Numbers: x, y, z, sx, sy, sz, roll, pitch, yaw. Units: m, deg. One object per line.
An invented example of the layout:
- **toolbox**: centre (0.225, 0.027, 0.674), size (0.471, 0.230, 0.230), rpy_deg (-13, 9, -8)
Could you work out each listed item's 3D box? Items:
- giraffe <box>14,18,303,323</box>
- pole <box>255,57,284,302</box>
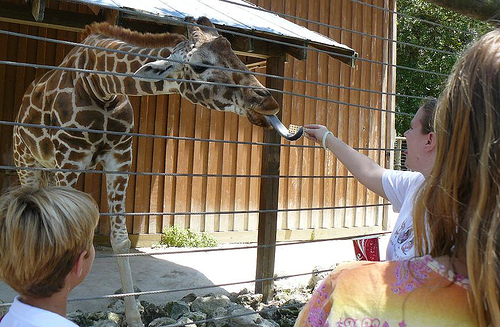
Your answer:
- **giraffe**: centre (-1.015, -0.382, 5.124), size (3.597, 2.912, 1.421), rpy_deg (-1, 5, 41)
- **pole**: centre (0.195, 0.141, 5.092), size (0.238, 2.379, 0.531), rpy_deg (1, -7, 1)
